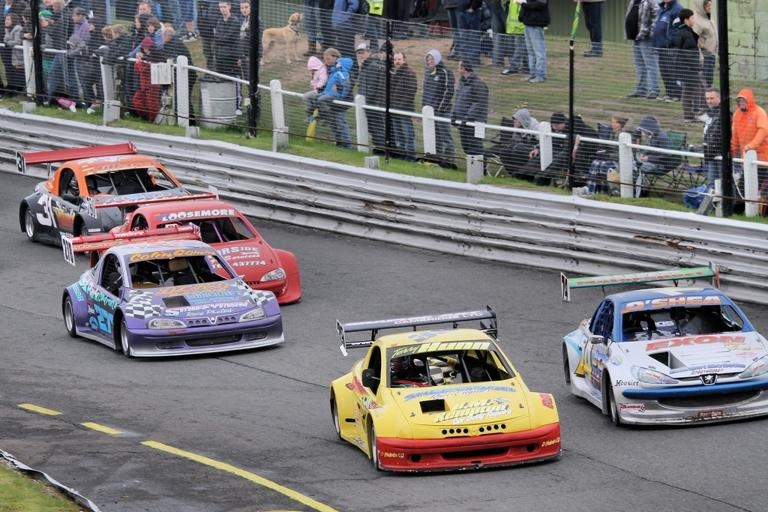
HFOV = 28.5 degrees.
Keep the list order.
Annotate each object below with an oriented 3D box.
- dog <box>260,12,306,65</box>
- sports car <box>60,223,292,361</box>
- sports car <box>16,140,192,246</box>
[{"bbox_3d":[-2.278,-4.776,33.268,1.626,1.003,0.510,3,14,37],"label":"dog"},{"bbox_3d":[-3.591,0.730,25.568,2.507,1.616,3.013,-7,13,-37],"label":"sports car"},{"bbox_3d":[-5.312,-1.289,31.004,3.454,1.559,4.931,-14,14,-31],"label":"sports car"}]
